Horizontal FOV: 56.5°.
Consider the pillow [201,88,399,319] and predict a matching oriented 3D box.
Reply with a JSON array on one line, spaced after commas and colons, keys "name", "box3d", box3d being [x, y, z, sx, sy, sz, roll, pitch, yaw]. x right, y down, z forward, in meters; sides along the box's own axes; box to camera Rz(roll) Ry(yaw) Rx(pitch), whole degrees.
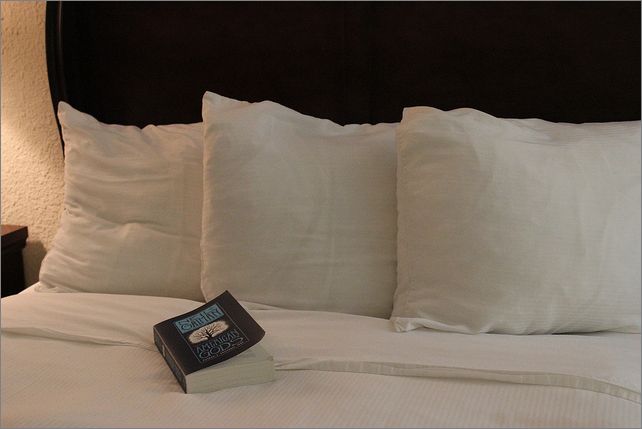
[{"name": "pillow", "box3d": [-0.080, -0.001, 1.976, 0.738, 0.816, 0.287, 0, -8, -8]}]

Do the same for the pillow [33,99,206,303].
[{"name": "pillow", "box3d": [-0.705, -0.057, 2.166, 0.693, 0.276, 0.690, 3, 80, 11]}]

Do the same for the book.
[{"name": "book", "box3d": [-0.307, 0.384, 1.710, 0.268, 0.102, 0.318, -18, 39, -22]}]
